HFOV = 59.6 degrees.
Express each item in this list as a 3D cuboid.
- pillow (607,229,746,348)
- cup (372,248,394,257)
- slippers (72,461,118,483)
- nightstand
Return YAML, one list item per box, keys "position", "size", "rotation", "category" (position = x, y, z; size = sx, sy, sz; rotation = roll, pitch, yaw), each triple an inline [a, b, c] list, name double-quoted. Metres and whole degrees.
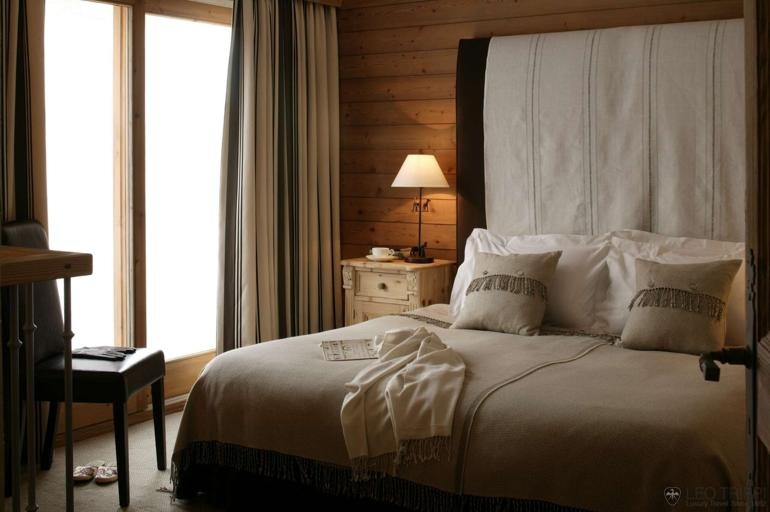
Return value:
- position: [1.496, 0.248, 3.482]
  size: [0.500, 0.452, 0.259]
  rotation: [3, 11, 41]
  category: "pillow"
- position: [-0.006, -0.025, 4.905]
  size: [0.077, 0.042, 0.096]
  rotation: [-3, -5, 42]
  category: "cup"
- position: [-1.583, 1.189, 3.705]
  size: [0.178, 0.063, 0.257]
  rotation: [2, -2, -11]
  category: "slippers"
- position: [0.107, 0.162, 4.929]
  size: [0.593, 0.781, 0.562]
  rotation: [3, 4, 40]
  category: "nightstand"
